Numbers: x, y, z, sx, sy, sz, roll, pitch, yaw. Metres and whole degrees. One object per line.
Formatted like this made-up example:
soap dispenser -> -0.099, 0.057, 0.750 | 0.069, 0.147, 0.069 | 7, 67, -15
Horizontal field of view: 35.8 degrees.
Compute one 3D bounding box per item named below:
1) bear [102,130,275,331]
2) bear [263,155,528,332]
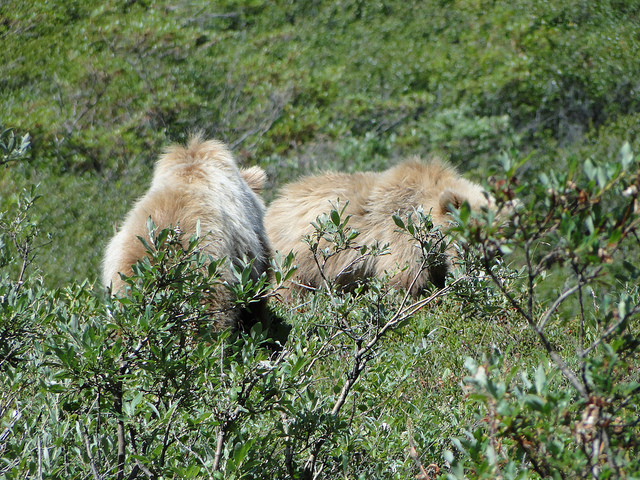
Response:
bear -> -0.840, -0.098, 8.728 | 1.039, 1.755, 2.090 | 12, 17, 26
bear -> 0.533, 0.086, 9.032 | 2.495, 1.690, 1.367 | 0, 10, 23
